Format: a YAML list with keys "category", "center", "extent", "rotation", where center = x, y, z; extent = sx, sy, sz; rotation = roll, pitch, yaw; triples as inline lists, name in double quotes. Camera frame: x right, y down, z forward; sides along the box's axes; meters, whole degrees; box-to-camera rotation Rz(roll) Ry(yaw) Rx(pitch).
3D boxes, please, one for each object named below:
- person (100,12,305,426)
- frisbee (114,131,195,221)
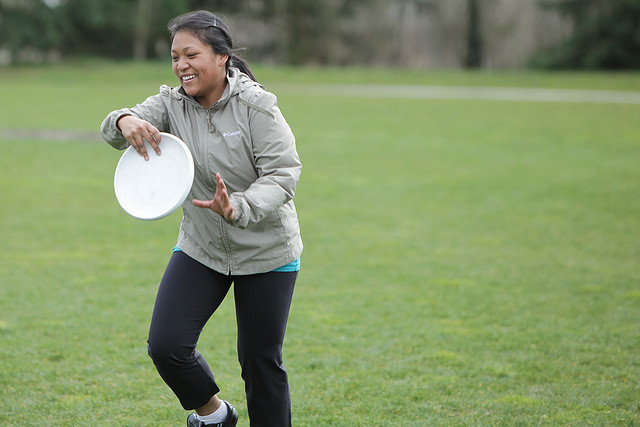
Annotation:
- category: "person"
  center: [-0.815, 0.119, 5.979]
  extent: [1.340, 3.002, 1.057]
  rotation: [1, 21, -7]
- category: "frisbee"
  center: [-1.269, -0.244, 5.992]
  extent: [0.696, 0.644, 0.150]
  rotation: [-7, -8, 32]
